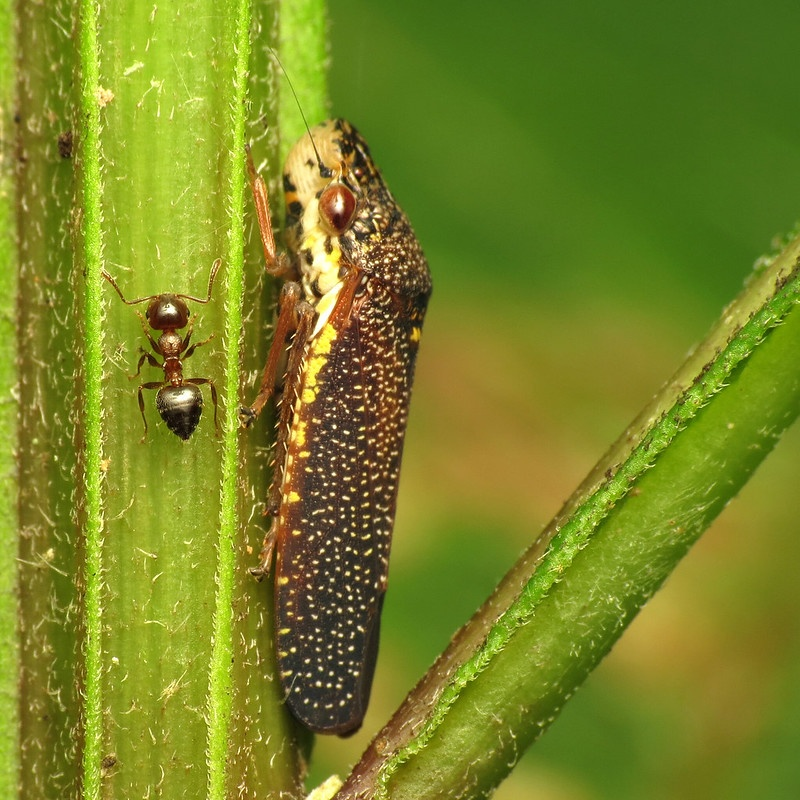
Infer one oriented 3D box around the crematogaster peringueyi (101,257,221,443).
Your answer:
[{"bbox_3d":[-0.505,-0.091,2.709,0.214,0.397,0.102,1,-13,-19],"label":"crematogaster peringueyi"}]
